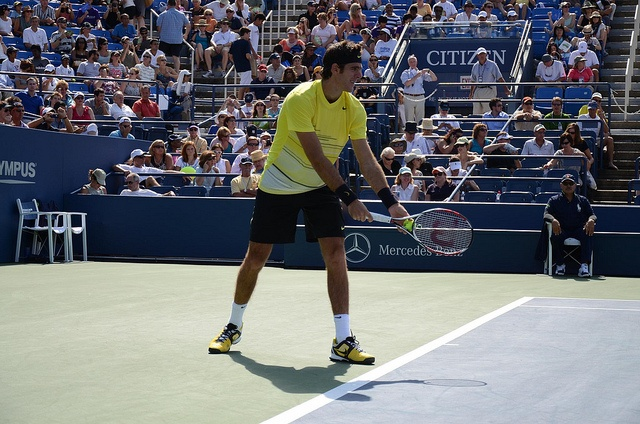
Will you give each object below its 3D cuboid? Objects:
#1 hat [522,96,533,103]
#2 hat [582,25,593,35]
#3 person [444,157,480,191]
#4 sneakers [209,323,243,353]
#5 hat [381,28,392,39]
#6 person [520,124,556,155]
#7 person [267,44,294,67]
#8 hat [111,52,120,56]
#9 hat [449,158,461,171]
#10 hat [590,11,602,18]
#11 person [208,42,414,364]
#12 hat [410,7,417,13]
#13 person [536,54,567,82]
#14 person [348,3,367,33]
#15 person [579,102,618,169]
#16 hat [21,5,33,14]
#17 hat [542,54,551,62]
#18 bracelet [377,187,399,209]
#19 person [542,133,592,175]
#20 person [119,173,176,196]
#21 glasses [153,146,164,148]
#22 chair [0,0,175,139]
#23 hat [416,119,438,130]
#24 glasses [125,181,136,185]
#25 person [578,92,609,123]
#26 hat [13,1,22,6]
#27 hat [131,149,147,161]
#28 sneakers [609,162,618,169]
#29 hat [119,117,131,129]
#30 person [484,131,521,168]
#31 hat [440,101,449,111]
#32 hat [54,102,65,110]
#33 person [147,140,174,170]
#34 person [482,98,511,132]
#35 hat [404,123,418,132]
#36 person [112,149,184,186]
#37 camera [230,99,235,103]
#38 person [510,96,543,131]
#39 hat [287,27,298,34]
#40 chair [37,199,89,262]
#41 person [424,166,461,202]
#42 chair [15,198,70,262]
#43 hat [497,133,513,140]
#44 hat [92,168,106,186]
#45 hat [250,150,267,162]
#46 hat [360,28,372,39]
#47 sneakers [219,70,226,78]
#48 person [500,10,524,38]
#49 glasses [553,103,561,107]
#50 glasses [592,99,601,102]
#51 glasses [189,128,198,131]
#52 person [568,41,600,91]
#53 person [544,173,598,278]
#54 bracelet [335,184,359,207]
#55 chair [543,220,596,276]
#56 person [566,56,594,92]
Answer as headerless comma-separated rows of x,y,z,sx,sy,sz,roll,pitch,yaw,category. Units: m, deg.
4.802,-2.553,15.660,0.210,0.170,0.351,3,4,15,hat
7.723,-5.232,19.521,0.246,0.293,0.645,4,4,22,hat
2.858,-0.732,13.465,0.416,0.568,0.941,6,11,-36,person
-0.863,1.139,6.384,0.143,0.177,0.407,34,14,9,sneakers
2.022,-5.255,20.045,0.367,0.193,0.277,33,7,-26,hat
4.680,-1.516,14.473,0.695,0.699,0.409,5,-19,6,person
-1.010,-4.356,19.025,0.560,0.386,0.714,-8,24,-15,person
-5.577,-4.299,18.609,0.186,0.108,0.232,2,3,-17,hat
2.787,-0.972,13.958,0.180,0.221,0.249,-4,-36,0,hat
8.057,-5.714,19.822,0.267,0.120,0.275,5,6,29,hat
-0.046,-0.094,6.141,1.533,2.838,0.565,4,4,20,person
2.965,-6.320,21.349,0.161,0.216,0.213,2,26,7,hat
6.232,-3.813,18.227,0.757,0.737,0.623,4,4,20,person
1.163,-5.974,21.080,0.642,1.006,0.818,-6,34,-5,person
6.370,-1.721,15.426,0.560,1.581,0.953,-8,8,-11,person
-9.081,-6.273,21.173,0.265,0.143,0.270,-2,-7,-14,hat
6.086,-4.069,18.105,0.258,0.247,0.320,4,4,18,hat
0.609,-0.122,6.032,0.142,0.186,0.195,0,5,-36,bracelet
4.963,-1.172,13.482,0.710,0.774,0.980,5,4,34,person
-3.621,-0.515,14.194,0.857,0.500,0.570,-12,1,-2,person
-3.608,-1.454,15.310,0.219,0.086,0.149,1,4,-25,glasses
-5.280,-3.446,18.203,2.282,3.017,3.841,1,4,-20,chair
2.598,-2.078,16.251,0.424,0.167,0.432,3,18,1,hat
-3.922,-0.600,14.158,0.141,0.044,0.150,5,-2,15,glasses
6.436,-2.493,16.077,0.496,0.509,1.052,-1,-27,19,person
-9.690,-6.675,21.784,0.238,0.113,0.329,-3,-2,-34,hat
-4.142,-1.308,15.310,0.311,0.162,0.236,-25,-9,25,hat
6.678,-1.036,15.387,0.173,0.164,0.421,4,4,27,sneakers
-4.528,-2.084,15.855,0.223,0.234,0.297,0,-15,-29,hat
3.807,-1.264,14.123,0.601,0.475,1.340,17,17,16,person
3.098,-2.623,16.927,0.197,0.130,0.265,5,47,-11,hat
-5.824,-2.391,15.249,0.205,0.154,0.206,1,-1,-3,hat
-3.638,-1.270,15.415,0.518,0.736,0.712,-1,4,-28,person
4.179,-2.189,16.113,0.627,1.045,0.587,-3,21,8,person
2.056,-1.874,15.166,0.266,0.140,0.192,1,4,-1,hat
-3.834,-0.938,15.259,1.419,0.902,0.769,-1,-1,43,person
-2.144,-2.723,16.744,0.098,0.038,0.136,1,1,3,camera
4.807,-2.113,15.683,0.575,1.014,0.518,2,3,10,person
-0.810,-5.309,20.082,0.342,0.165,0.411,-1,4,-14,hat
-5.075,0.397,13.503,0.810,1.032,0.900,-5,3,37,chair
2.359,-0.477,13.005,0.721,0.798,0.475,-5,-18,27,person
-5.425,0.333,13.336,0.947,1.138,0.976,8,8,40,chair
3.823,-1.552,14.037,0.254,0.089,0.168,0,-1,36,hat
-4.678,-0.705,14.372,0.258,0.358,0.353,1,4,-27,hat
-1.194,-1.106,13.428,0.258,0.087,0.234,-12,8,-23,hat
1.359,-5.229,19.828,0.259,0.269,0.346,2,-22,8,hat
-2.988,-4.249,21.111,0.195,0.306,0.200,0,2,-1,sneakers
5.770,-5.573,20.198,0.518,1.077,1.681,3,4,16,person
5.419,-2.430,15.477,0.194,0.068,0.245,4,4,16,glasses
6.607,-2.644,16.166,0.113,0.049,0.132,6,-5,1,glasses
-2.876,-1.862,15.550,0.174,0.073,0.119,1,4,-26,glasses
7.372,-3.977,18.727,0.821,1.392,0.884,-1,11,39,person
4.235,0.243,11.515,0.809,1.662,0.519,4,4,19,person
0.233,-0.119,5.881,0.198,0.057,0.151,41,54,13,bracelet
4.255,0.579,11.657,0.780,1.010,0.689,-13,12,-36,chair
6.758,-3.354,17.521,0.644,1.222,0.425,-4,-3,18,person
